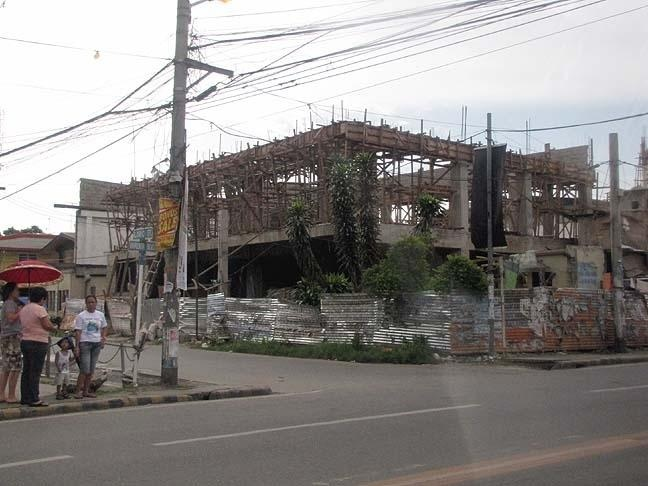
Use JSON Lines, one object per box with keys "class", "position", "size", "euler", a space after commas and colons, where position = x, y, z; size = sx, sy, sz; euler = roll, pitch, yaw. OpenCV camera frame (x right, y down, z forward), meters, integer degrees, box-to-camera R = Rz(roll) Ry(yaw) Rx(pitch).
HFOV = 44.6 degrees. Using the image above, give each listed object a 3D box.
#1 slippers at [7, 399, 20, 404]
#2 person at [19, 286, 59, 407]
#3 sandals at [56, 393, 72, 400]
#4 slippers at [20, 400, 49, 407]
{"class": "slippers", "position": [-6.436, 3.263, 16.315], "size": [0.221, 0.083, 0.267], "euler": [1, -5, -23]}
{"class": "person", "position": [-6.008, 2.137, 16.332], "size": [0.608, 2.418, 0.525], "euler": [1, -4, -19]}
{"class": "sandals", "position": [-5.697, 3.342, 17.238], "size": [0.321, 0.154, 0.122], "euler": [-1, -4, 12]}
{"class": "slippers", "position": [-5.952, 3.286, 16.158], "size": [0.490, 0.147, 0.192], "euler": [0, -4, -9]}
